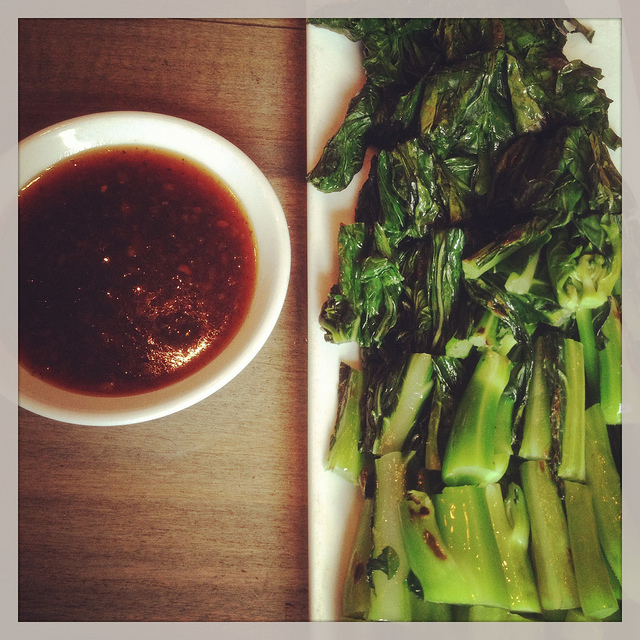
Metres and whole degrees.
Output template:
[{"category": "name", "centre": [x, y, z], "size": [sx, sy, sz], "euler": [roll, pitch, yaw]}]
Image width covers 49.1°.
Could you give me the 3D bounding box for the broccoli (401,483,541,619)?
[{"category": "broccoli", "centre": [0.238, 0.363, 1.119], "size": [0.180, 0.072, 0.233], "euler": [1, 93, 4]}]

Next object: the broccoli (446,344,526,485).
[{"category": "broccoli", "centre": [0.274, 0.150, 1.169], "size": [0.102, 0.079, 0.248], "euler": [7, 89, 1]}]

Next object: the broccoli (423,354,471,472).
[{"category": "broccoli", "centre": [0.202, 0.126, 1.128], "size": [0.051, 0.030, 0.231], "euler": [8, 85, 26]}]

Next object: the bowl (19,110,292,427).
[{"category": "bowl", "centre": [-0.276, -0.069, 1.105], "size": [0.429, 0.279, 0.421], "euler": [10, 59, -18]}]
